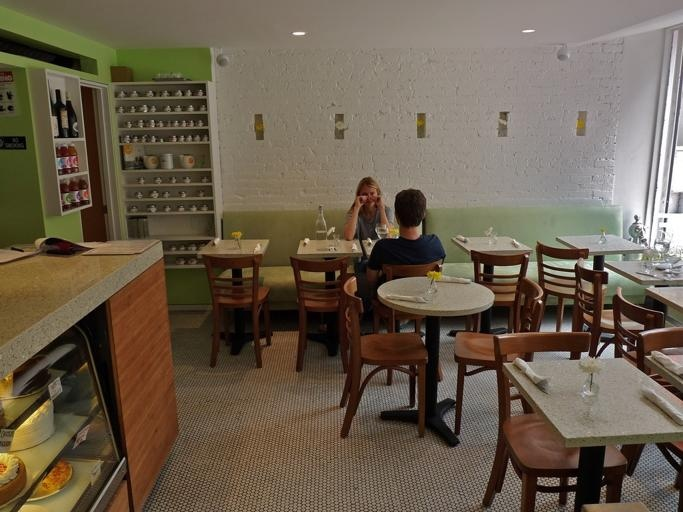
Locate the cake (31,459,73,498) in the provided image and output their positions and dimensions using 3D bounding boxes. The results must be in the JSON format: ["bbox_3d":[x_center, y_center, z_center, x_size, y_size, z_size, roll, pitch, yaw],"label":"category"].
[{"bbox_3d":[-1.195,0.930,2.021,0.105,0.026,0.114,-1,4,1],"label":"cake"}]

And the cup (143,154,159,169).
[{"bbox_3d":[-2.178,-1.081,5.628,0.159,0.150,0.150,0,3,0],"label":"cup"}]

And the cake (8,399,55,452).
[{"bbox_3d":[-1.233,0.687,1.952,0.150,0.108,0.150,1,12,-11],"label":"cake"}]

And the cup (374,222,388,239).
[{"bbox_3d":[0.384,-0.236,4.750,0.151,0.162,0.153,0,9,0],"label":"cup"}]

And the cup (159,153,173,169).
[{"bbox_3d":[-2.009,-1.080,5.605,0.157,0.175,0.157,2,4,0],"label":"cup"}]

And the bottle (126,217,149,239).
[{"bbox_3d":[-2.367,-0.310,5.789,0.305,0.304,0.217,0,4,-9],"label":"bottle"}]

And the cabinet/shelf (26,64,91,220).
[{"bbox_3d":[-2.485,-0.996,4.357,0.231,1.241,0.529,-2,13,-2],"label":"cabinet/shelf"}]

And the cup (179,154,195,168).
[{"bbox_3d":[-1.772,-1.084,5.590,0.176,0.155,0.134,0,8,-15],"label":"cup"}]

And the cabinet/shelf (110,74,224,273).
[{"bbox_3d":[-1.960,-1.107,5.616,0.988,1.851,0.281,-3,1,-1],"label":"cabinet/shelf"}]

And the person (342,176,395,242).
[{"bbox_3d":[0.273,-0.480,5.173,0.625,1.076,0.621,-1,3,-1],"label":"person"}]
